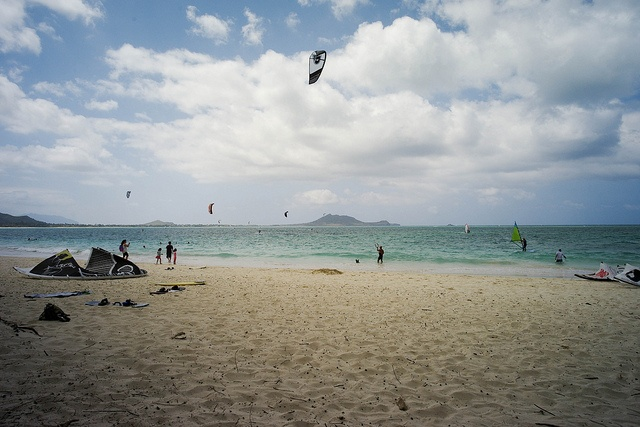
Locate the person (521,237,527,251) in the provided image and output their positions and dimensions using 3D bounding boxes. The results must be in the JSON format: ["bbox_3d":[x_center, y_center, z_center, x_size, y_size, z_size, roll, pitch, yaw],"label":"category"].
[{"bbox_3d":[22.976,3.506,45.117,0.598,0.710,1.583,18,34,28],"label":"person"}]

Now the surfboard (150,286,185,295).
[{"bbox_3d":[-6.361,3.219,16.875,0.948,0.259,1.590,-3,-6,29],"label":"surfboard"}]
